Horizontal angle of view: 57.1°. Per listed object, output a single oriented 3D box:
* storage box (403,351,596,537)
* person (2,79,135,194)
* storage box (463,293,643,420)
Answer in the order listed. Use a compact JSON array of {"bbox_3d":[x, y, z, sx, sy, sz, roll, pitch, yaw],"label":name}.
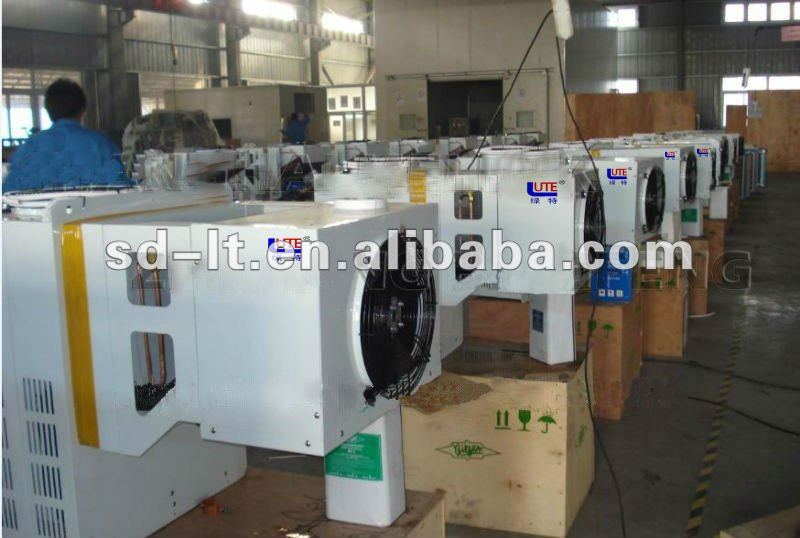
[{"bbox_3d":[0.540,0.970,3.970,0.881,1.026,0.709,2,3,21],"label":"storage box"},{"bbox_3d":[-1.704,-0.712,3.827,0.560,0.568,0.834,-5,13,-21],"label":"person"},{"bbox_3d":[1.142,0.408,4.876,0.959,1.122,0.639,0,-12,11],"label":"storage box"}]
